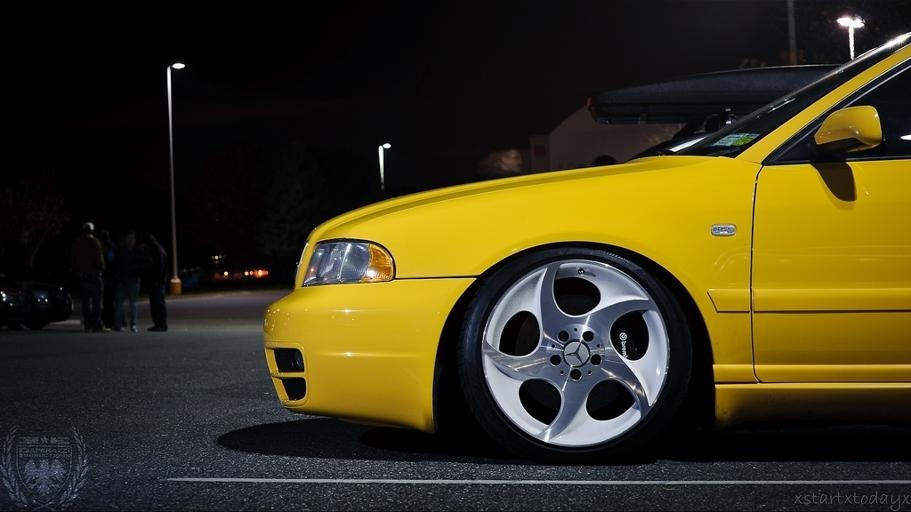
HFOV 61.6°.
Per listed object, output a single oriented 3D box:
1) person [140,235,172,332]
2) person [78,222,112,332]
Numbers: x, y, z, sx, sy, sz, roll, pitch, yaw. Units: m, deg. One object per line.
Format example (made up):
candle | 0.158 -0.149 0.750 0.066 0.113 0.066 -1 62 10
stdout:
person | -5.801 0.503 14.778 0.398 1.873 1.127 -3 5 -21
person | -7.057 0.418 14.787 0.565 2.087 0.952 -3 5 -24
